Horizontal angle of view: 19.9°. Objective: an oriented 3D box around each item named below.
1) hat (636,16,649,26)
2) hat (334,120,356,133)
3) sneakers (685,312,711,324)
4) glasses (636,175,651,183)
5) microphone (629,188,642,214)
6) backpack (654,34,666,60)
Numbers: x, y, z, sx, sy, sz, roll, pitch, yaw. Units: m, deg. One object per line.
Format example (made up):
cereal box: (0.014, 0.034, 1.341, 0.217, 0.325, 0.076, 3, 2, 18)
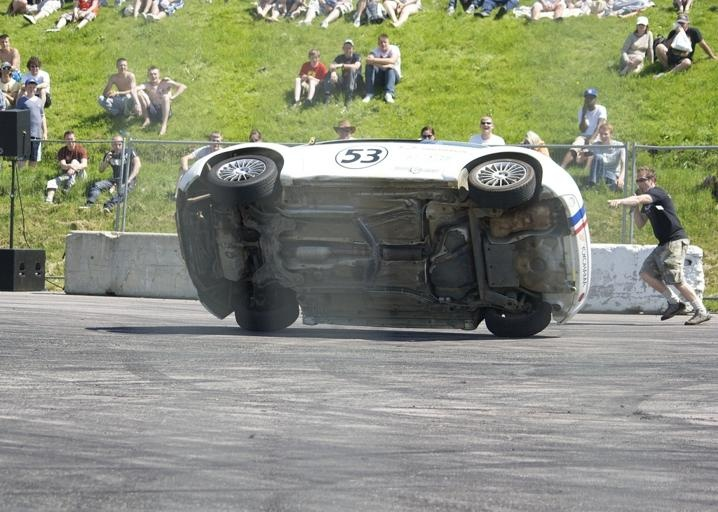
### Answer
hat: (6.578, -5.309, 46.975, 0.257, 0.132, 0.401, 4, 7, 13)
hat: (-0.276, -2.604, 42.178, 0.410, 0.165, 0.456, 2, -25, 5)
sneakers: (6.243, 1.148, 37.049, 0.537, 0.231, 0.178, -12, 1, -12)
glasses: (5.187, -1.354, 36.940, 0.254, 0.134, 0.053, 1, 29, -1)
microphone: (5.117, -0.970, 37.604, 0.129, 0.473, 0.185, 5, -8, 15)
backpack: (7.070, -4.850, 48.096, 0.179, 0.488, 0.390, 17, 17, 33)
